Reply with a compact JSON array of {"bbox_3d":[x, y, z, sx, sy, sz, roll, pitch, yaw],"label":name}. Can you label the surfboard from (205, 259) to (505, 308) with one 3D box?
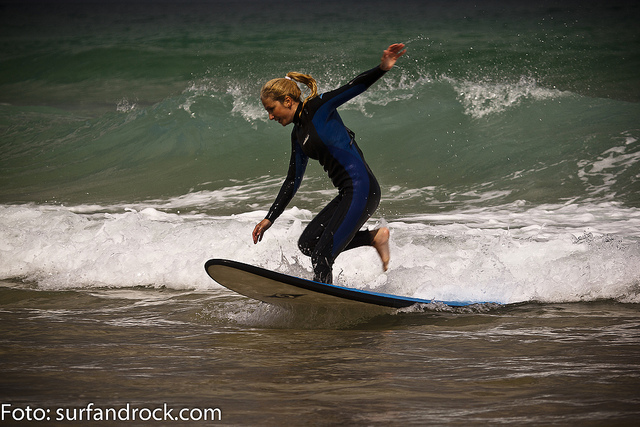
[{"bbox_3d":[0.240,1.061,12.205,5.424,0.718,0.285,3,71,-14],"label":"surfboard"}]
